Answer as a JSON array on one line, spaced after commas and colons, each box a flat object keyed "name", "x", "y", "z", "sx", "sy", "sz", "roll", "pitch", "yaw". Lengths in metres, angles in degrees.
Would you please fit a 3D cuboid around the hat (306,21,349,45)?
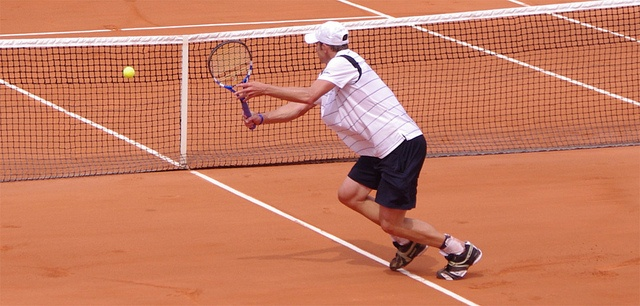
[{"name": "hat", "x": 0.099, "y": -2.139, "z": 10.256, "sx": 0.746, "sy": 0.264, "sz": 0.424, "roll": 8, "pitch": 20, "yaw": 13}]
